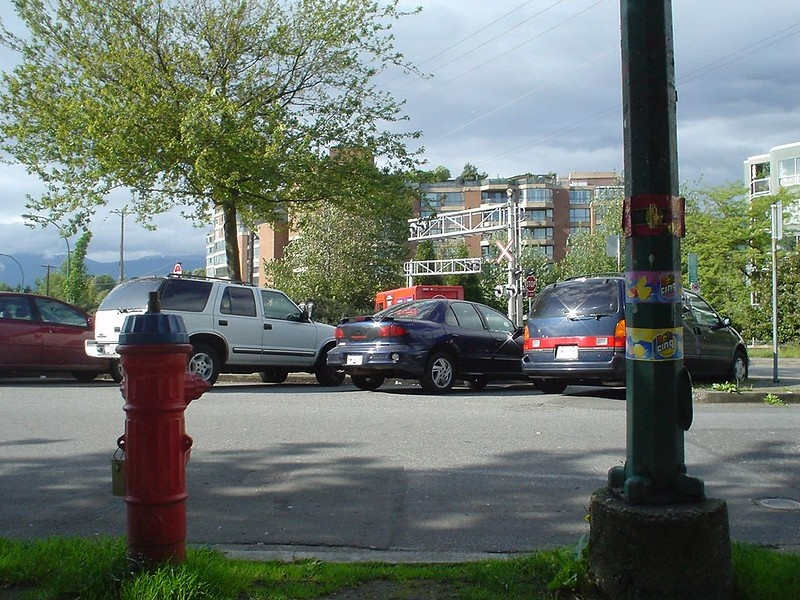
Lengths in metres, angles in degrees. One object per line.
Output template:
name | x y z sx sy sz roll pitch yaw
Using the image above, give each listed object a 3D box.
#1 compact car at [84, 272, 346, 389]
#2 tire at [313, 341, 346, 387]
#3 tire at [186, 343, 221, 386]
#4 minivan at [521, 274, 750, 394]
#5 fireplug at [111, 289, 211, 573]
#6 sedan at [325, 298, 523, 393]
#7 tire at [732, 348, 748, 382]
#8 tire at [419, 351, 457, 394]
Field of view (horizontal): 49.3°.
compact car | -3.186 0.462 15.571 3.956 1.522 2.139 1 -3 -41
tire | -1.311 1.135 15.946 0.318 0.910 0.921 0 1 36
tire | -3.299 1.112 14.694 0.693 0.689 0.244 11 8 24
minivan | 3.951 0.554 14.544 3.587 1.477 2.058 -1 -2 -44
fireplug | -1.408 0.729 5.042 0.505 1.554 0.328 -1 1 -13
sedan | 0.655 0.769 15.124 3.098 1.099 1.636 0 -2 -43
tire | 6.060 1.149 15.546 0.164 0.498 0.506 -5 -14 38
tire | 0.769 1.210 14.615 0.229 0.659 0.660 0 -4 -36
